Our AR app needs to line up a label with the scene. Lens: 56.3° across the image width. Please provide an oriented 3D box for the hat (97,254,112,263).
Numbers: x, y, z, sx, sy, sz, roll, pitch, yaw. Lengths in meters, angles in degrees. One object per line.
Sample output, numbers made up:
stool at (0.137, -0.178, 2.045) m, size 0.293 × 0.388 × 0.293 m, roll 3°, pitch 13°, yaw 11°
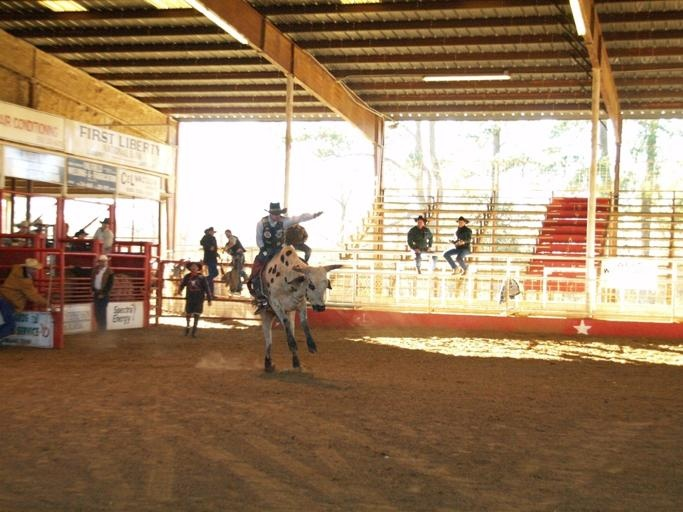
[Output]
hat at (-5.746, 0.051, 15.355) m, size 0.263 × 0.091 × 0.271 m, roll -1°, pitch -4°, yaw -2°

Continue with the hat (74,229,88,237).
hat at (-7.210, -0.606, 17.542) m, size 0.246 × 0.212 × 0.256 m, roll 3°, pitch -19°, yaw -3°

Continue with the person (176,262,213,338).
person at (-3.605, 1.035, 15.613) m, size 0.736 × 1.757 × 1.064 m, roll 1°, pitch 2°, yaw -13°

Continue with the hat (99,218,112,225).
hat at (-6.534, -0.969, 17.592) m, size 0.247 × 0.150 × 0.318 m, roll -1°, pitch -7°, yaw -31°

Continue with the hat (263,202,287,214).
hat at (-1.172, -0.845, 11.034) m, size 0.317 × 0.113 × 0.265 m, roll -8°, pitch -2°, yaw 43°

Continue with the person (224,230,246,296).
person at (-3.226, 0.174, 19.192) m, size 0.624 × 1.912 × 0.735 m, roll 1°, pitch 2°, yaw -15°

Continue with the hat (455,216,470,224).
hat at (4.362, -1.312, 23.197) m, size 0.522 × 0.166 × 0.523 m, roll 2°, pitch -19°, yaw 13°

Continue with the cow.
cow at (-0.836, 0.840, 10.989) m, size 0.824 × 1.872 × 2.969 m, roll 1°, pitch -14°, yaw -22°

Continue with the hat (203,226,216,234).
hat at (-4.001, -0.806, 19.056) m, size 0.267 × 0.144 × 0.383 m, roll -4°, pitch -10°, yaw -34°
